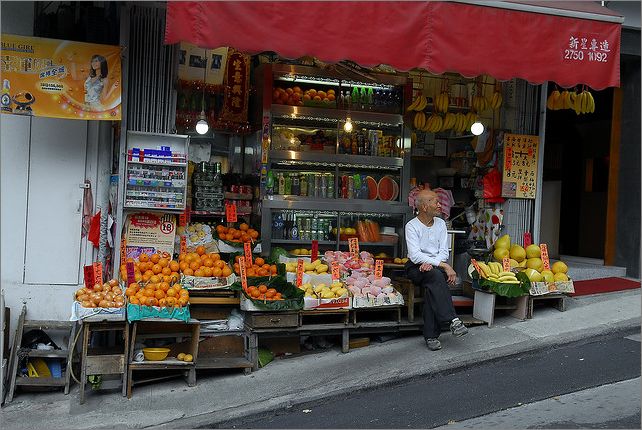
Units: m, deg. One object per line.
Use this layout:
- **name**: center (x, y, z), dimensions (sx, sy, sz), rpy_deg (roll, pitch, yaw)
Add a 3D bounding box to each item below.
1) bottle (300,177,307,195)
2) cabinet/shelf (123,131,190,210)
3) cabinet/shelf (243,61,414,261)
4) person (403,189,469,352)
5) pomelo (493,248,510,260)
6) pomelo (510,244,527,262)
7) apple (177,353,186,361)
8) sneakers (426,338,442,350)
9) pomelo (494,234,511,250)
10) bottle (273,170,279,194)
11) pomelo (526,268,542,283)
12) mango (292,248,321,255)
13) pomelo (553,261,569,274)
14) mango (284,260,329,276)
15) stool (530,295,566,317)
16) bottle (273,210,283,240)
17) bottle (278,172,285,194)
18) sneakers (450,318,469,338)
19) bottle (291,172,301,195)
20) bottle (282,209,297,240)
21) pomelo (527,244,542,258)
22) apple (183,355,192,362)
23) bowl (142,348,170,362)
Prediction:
- **bottle**: center (-0.269, -0.472, 8.843), dimensions (0.150, 0.293, 0.045), rpy_deg (-1, -3, -37)
- **cabinet/shelf**: center (-2.369, -0.610, 7.575), dimensions (0.993, 1.337, 0.687), rpy_deg (3, -5, -21)
- **cabinet/shelf**: center (0.210, -0.443, 9.427), dimensions (2.557, 3.910, 1.234), rpy_deg (2, 5, 0)
- **person**: center (1.564, 0.736, 7.391), dimensions (0.590, 2.191, 0.892), rpy_deg (-2, -2, -14)
- **pomelo**: center (2.852, 0.611, 8.360), dimensions (0.181, 0.190, 0.185), rpy_deg (-4, 14, 6)
- **pomelo**: center (3.098, 0.607, 8.467), dimensions (0.189, 0.204, 0.255), rpy_deg (-3, 14, -25)
- **apple**: center (-1.803, 1.836, 6.911), dimensions (0.084, 0.057, 0.086), rpy_deg (2, 5, -7)
- **sneakers**: center (1.530, 1.751, 7.194), dimensions (0.092, 0.102, 0.234), rpy_deg (-1, -3, -13)
- **pomelo**: center (2.922, 0.439, 8.572), dimensions (0.206, 0.285, 0.210), rpy_deg (22, 6, 2)
- **bottle**: center (-0.714, -0.518, 8.728), dimensions (0.113, 0.354, 0.047), rpy_deg (-2, -2, -16)
- **pomelo**: center (3.179, 0.906, 7.936), dimensions (0.184, 0.195, 0.183), rpy_deg (1, 4, 6)
- **mango**: center (-0.270, 0.595, 8.471), dimensions (0.409, 0.130, 0.597), rpy_deg (-2, -3, -5)
- **pomelo**: center (3.699, 0.807, 8.244), dimensions (0.183, 0.204, 0.198), rpy_deg (5, 20, -7)
- **mango**: center (-0.193, 0.763, 7.793), dimensions (0.640, 0.221, 0.415), rpy_deg (-2, -3, -4)
- **stool**: center (3.460, 1.302, 8.065), dimensions (0.469, 0.240, 0.375), rpy_deg (0, 4, -1)
- **bottle**: center (-0.688, 0.176, 8.560), dimensions (0.196, 0.423, 0.053), rpy_deg (-1, -2, -30)
- **bottle**: center (-0.639, -0.514, 8.749), dimensions (0.111, 0.344, 0.041), rpy_deg (-2, -2, -10)
- **sneakers**: center (1.825, 1.497, 7.064), dimensions (0.195, 0.266, 0.259), rpy_deg (-3, -2, 10)
- **bottle**: center (-0.414, -0.502, 8.810), dimensions (0.161, 0.358, 0.056), rpy_deg (-2, -2, -16)
- **bottle**: center (-0.496, 0.168, 8.644), dimensions (0.257, 0.450, 0.108), rpy_deg (-2, -2, -5)
- **pomelo**: center (3.375, 0.587, 8.451), dimensions (0.183, 0.227, 0.198), rpy_deg (-18, -43, 15)
- **apple**: center (-1.701, 1.844, 6.855), dimensions (0.110, 0.074, 0.082), rpy_deg (-1, -3, -23)
- **bowl**: center (-2.120, 1.793, 6.856), dimensions (0.196, 0.075, 0.204), rpy_deg (-1, -4, 0)
